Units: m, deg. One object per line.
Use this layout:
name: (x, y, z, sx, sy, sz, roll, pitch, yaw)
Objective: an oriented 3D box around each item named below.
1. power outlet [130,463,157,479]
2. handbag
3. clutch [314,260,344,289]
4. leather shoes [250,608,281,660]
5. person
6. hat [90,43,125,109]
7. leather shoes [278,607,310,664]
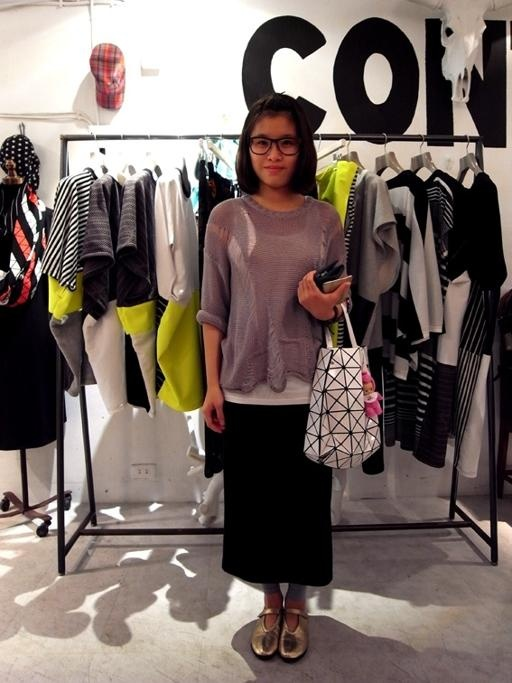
power outlet: (-0.556, 0.631, 2.461, 0.131, 0.076, 0.011, 0, 4, 1)
handbag: (0.222, 0.165, 1.287, 0.197, 0.302, 0.119, 0, 5, 7)
clutch: (0.173, -0.154, 1.205, 0.068, 0.066, 0.054, 0, 5, 7)
leather shoes: (0.029, 0.854, 1.499, 0.045, 0.077, 0.162, 1, 2, 6)
person: (0.051, 0.146, 1.381, 0.400, 1.565, 0.276, 1, 4, 13)
hat: (-0.645, -1.154, 2.200, 0.114, 0.278, 0.230, -1, 10, -9)
leather shoes: (0.116, 0.853, 1.477, 0.046, 0.076, 0.162, -1, 10, 3)
